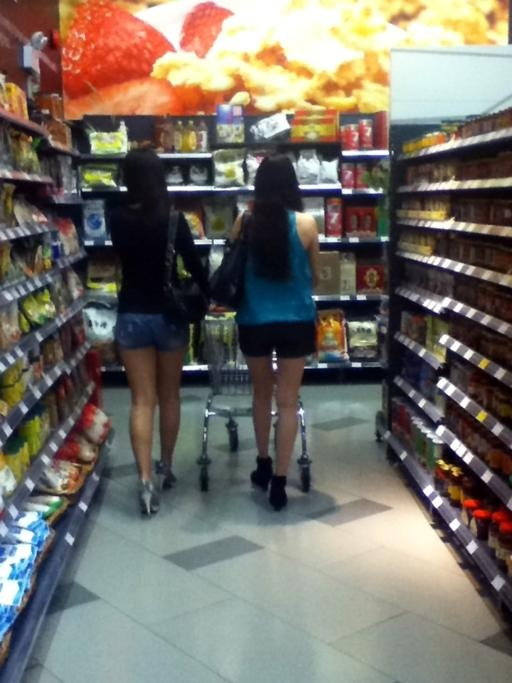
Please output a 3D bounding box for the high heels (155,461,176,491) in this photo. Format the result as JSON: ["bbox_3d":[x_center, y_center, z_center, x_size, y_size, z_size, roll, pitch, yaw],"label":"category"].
[{"bbox_3d":[-0.496,0.742,2.735,0.059,0.110,0.211,1,0,3],"label":"high heels"}]

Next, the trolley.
[{"bbox_3d":[0.044,0.276,3.196,0.574,1.191,1.147,3,-1,4],"label":"trolley"}]

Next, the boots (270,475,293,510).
[{"bbox_3d":[0.104,0.731,2.412,0.076,0.183,0.172,3,-16,-1],"label":"boots"}]

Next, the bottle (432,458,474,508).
[{"bbox_3d":[0.873,0.646,2.224,0.127,0.055,0.141,5,23,-16],"label":"bottle"}]

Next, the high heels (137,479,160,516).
[{"bbox_3d":[-0.537,0.769,2.504,0.063,0.092,0.208,0,6,-2],"label":"high heels"}]
